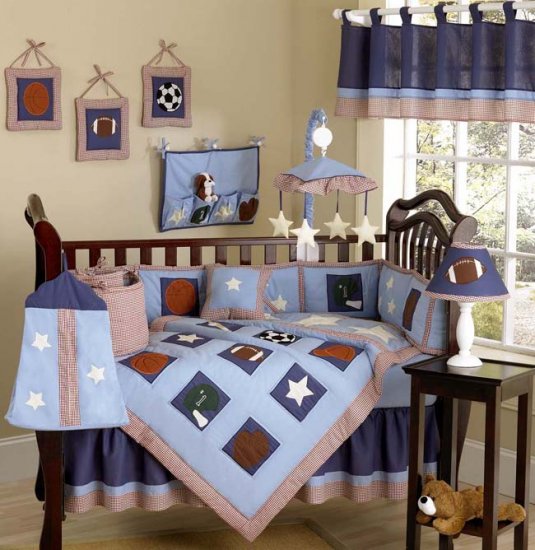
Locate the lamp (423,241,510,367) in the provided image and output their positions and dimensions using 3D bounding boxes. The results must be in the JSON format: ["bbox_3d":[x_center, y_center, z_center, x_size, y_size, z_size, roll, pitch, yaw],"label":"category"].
[{"bbox_3d":[0.607,0.092,1.964,0.174,0.369,0.222,-4,7,-27],"label":"lamp"}]

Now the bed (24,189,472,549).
[{"bbox_3d":[-0.054,0.368,2.253,1.432,0.985,0.510,-2,6,-26],"label":"bed"}]

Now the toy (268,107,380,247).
[{"bbox_3d":[0.245,-0.435,2.901,0.502,0.739,0.613,-1,3,-18],"label":"toy"}]
